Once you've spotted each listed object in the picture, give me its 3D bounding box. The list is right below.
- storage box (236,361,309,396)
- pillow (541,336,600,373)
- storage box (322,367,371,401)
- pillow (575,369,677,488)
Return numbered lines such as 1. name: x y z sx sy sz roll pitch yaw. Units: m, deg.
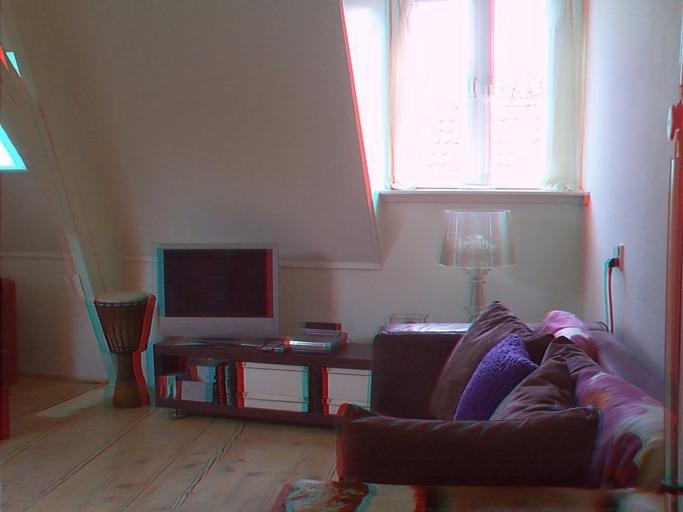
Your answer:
1. storage box: -0.329 0.605 2.747 0.292 0.174 0.078 1 3 14
2. pillow: 0.692 0.288 1.686 0.112 0.036 0.105 -3 20 -31
3. storage box: 0.026 0.619 2.678 0.229 0.181 0.138 2 6 13
4. pillow: 0.677 0.425 1.364 0.153 0.076 0.238 0 8 12
